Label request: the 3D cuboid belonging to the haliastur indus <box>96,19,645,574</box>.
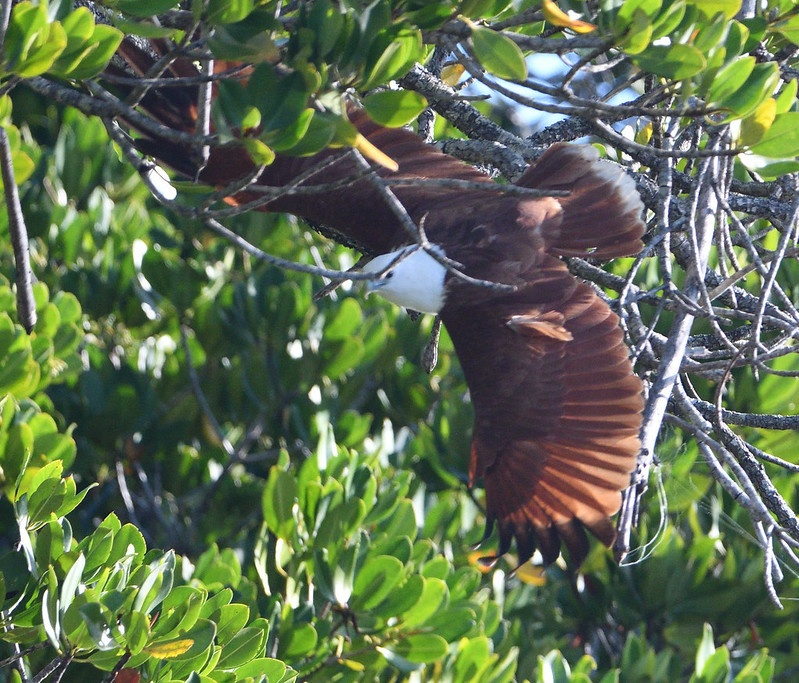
[{"bbox_3d":[0.191,-0.132,4.077,1.471,1.045,0.612,36,47,21],"label":"haliastur indus"}]
